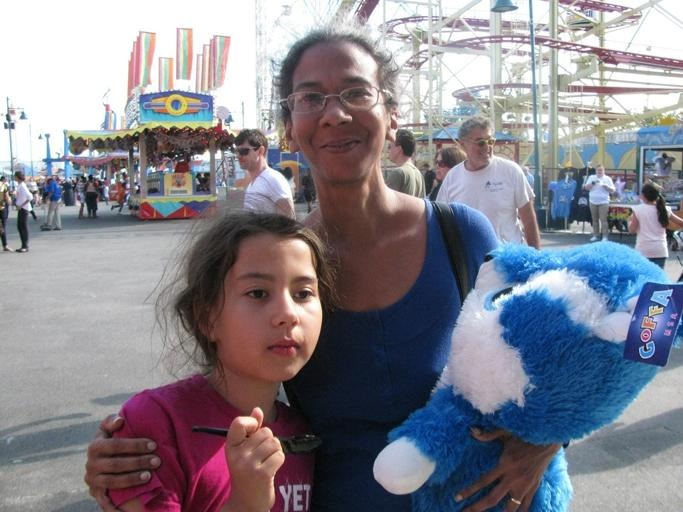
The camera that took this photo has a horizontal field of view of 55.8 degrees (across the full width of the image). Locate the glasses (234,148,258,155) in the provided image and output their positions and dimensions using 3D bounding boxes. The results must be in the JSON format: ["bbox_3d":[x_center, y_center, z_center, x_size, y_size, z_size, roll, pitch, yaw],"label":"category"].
[{"bbox_3d":[-1.094,-1.191,7.306,0.142,0.052,0.150,1,7,43],"label":"glasses"}]

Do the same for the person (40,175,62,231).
[{"bbox_3d":[-8.628,-1.628,19.023,0.513,1.694,0.576,1,4,30],"label":"person"}]

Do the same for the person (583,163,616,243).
[{"bbox_3d":[5.839,-1.211,14.454,0.569,1.588,1.259,3,10,21],"label":"person"}]

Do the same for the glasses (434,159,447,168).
[{"bbox_3d":[1.321,-1.233,8.382,0.117,0.045,0.116,-24,2,-18],"label":"glasses"}]

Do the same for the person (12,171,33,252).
[{"bbox_3d":[-7.218,-1.016,14.615,0.591,1.827,0.464,3,5,38],"label":"person"}]

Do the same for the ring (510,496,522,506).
[{"bbox_3d":[0.545,0.763,1.993,0.027,0.008,0.026,16,4,-1],"label":"ring"}]
